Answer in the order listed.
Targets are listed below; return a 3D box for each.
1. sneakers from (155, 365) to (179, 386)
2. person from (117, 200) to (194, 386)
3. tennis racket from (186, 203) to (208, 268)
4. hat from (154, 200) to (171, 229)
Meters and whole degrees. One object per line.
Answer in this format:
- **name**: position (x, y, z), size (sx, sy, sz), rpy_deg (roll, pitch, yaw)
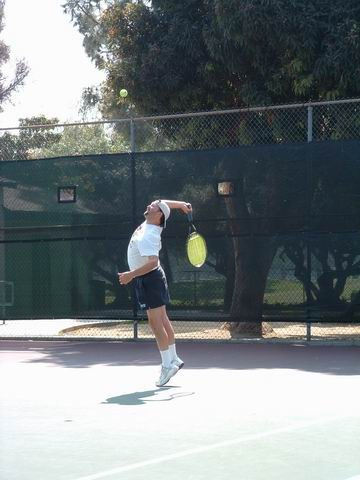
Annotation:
- **sneakers**: position (-0.110, 1.135, 7.087), size (0.197, 0.180, 0.134), rpy_deg (-5, 6, -41)
- **person**: position (-0.236, 0.456, 7.212), size (0.514, 1.572, 0.591), rpy_deg (-1, 4, -1)
- **tennis racket**: position (0.137, -0.042, 8.247), size (0.179, 0.677, 0.079), rpy_deg (-20, -33, 14)
- **hat**: position (-0.136, -0.229, 7.362), size (0.072, 0.221, 0.152), rpy_deg (-9, -1, -13)
